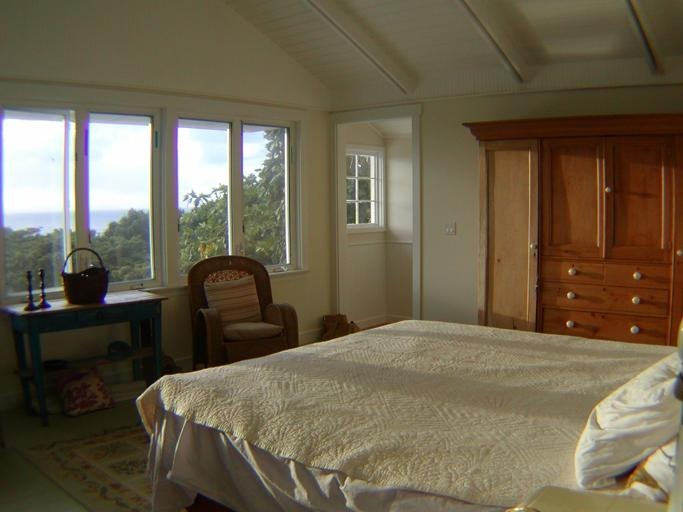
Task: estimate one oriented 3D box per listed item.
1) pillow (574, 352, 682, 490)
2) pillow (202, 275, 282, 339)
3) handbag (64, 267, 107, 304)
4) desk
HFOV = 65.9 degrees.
[{"bbox_3d":[0.986,0.565,1.816,0.292,0.365,0.459,5,12,35],"label":"pillow"},{"bbox_3d":[-0.941,0.488,4.732,0.163,0.553,0.567,-19,-7,40],"label":"pillow"},{"bbox_3d":[-2.006,0.239,4.107,0.254,0.224,0.308,0,-6,2],"label":"handbag"},{"bbox_3d":[-2.048,0.793,4.079,0.372,0.818,0.906,3,6,39],"label":"desk"}]
